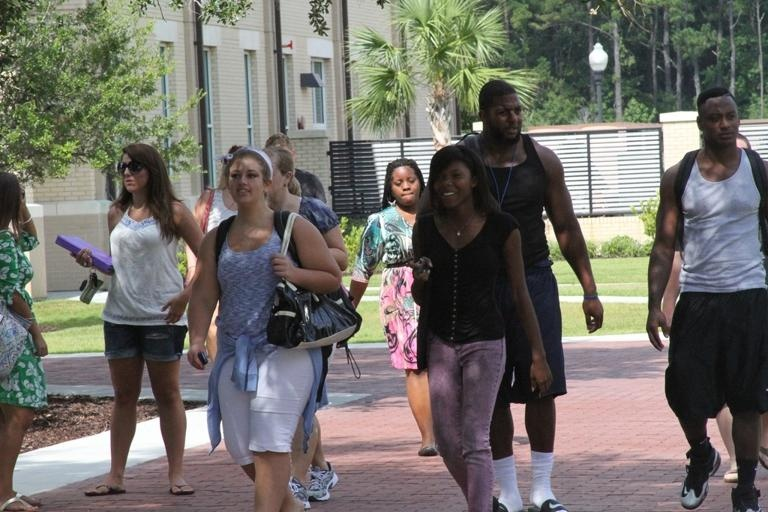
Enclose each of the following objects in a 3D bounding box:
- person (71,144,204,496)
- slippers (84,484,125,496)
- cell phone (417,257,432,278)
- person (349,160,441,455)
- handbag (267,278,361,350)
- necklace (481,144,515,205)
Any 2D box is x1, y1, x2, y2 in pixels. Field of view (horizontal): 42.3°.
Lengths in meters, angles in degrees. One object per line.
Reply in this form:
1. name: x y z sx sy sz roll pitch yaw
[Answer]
1. person: -2.043 0.526 8.707 1.100 2.846 1.172 -1 0 -4
2. slippers: -2.383 2.003 8.492 0.235 0.081 0.125 4 -5 -7
3. cell phone: 0.291 0.083 6.933 0.097 0.101 0.175 -3 -35 3
4. person: 0.113 0.401 9.447 0.890 2.474 1.076 -1 1 -15
5. handbag: -0.493 0.384 6.915 0.226 0.452 0.669 4 8 44
6. necklace: 0.876 -0.577 7.396 0.143 0.312 0.203 1 -1 6
